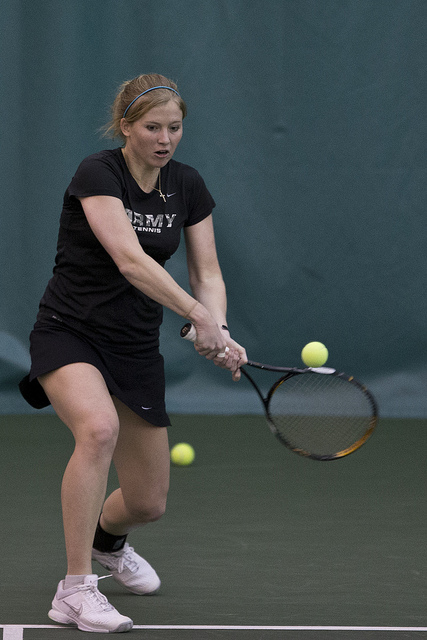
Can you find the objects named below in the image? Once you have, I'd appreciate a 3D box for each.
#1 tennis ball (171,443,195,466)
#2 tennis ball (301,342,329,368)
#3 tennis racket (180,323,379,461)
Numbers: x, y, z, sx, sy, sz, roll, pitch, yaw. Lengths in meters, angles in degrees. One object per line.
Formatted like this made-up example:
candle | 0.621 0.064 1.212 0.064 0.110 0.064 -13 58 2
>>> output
tennis ball | -0.179 0.751 3.922 0.130 0.108 0.118 -3 16 -16
tennis ball | 0.512 0.202 3.604 0.152 0.137 0.146 0 78 1
tennis racket | 0.204 0.218 2.302 0.305 0.056 0.790 -56 40 -1
